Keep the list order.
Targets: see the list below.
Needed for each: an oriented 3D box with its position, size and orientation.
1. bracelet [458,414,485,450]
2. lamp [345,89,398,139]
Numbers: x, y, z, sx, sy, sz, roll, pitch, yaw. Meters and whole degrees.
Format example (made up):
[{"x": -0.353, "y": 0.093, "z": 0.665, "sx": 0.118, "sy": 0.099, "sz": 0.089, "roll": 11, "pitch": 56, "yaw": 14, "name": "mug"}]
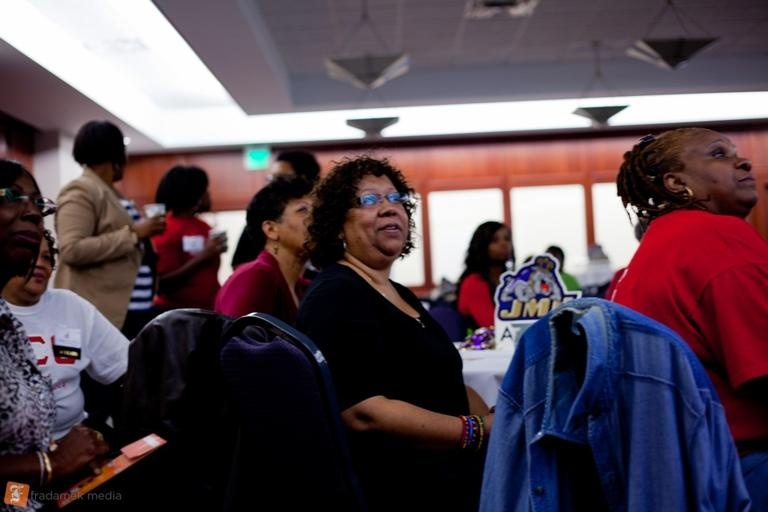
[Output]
[{"x": 0.323, "y": 0.666, "z": 2.545, "sx": 0.070, "sy": 0.118, "sz": 0.113, "roll": 4, "pitch": 4, "yaw": -2, "name": "bracelet"}, {"x": -0.161, "y": -1.743, "z": 8.405, "sx": 0.604, "sy": 0.384, "sz": 0.785, "roll": -1, "pitch": -2, "yaw": -3, "name": "lamp"}]
